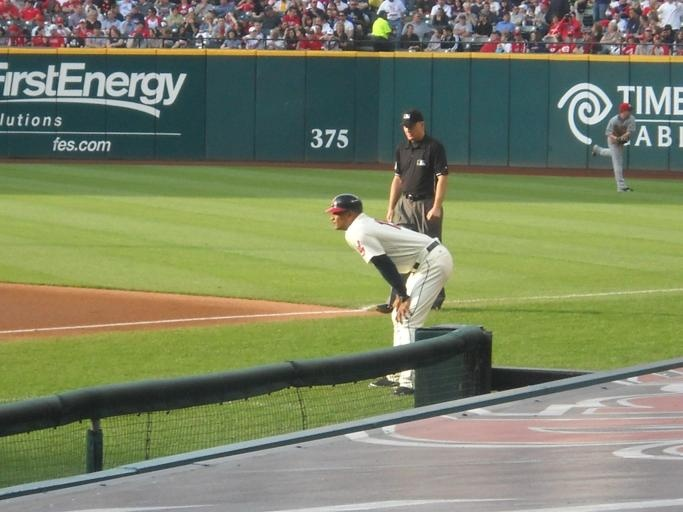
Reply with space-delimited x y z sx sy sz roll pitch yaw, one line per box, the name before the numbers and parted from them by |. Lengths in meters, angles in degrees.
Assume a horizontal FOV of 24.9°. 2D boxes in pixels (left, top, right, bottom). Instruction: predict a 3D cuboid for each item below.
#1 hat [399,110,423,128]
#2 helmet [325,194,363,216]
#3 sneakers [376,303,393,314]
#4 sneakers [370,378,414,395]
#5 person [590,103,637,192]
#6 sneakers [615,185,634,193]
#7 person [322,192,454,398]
hat | 0.846 -1.668 18.592 0.187 0.125 0.257 2 6 35
helmet | 0.042 -0.554 16.454 0.344 0.151 0.235 1 3 1
sneakers | 0.528 0.649 18.914 0.120 0.072 0.243 2 3 36
sneakers | 0.533 1.389 16.275 0.466 0.125 0.167 16 39 32
person | 4.904 -1.965 27.629 0.658 1.558 1.093 0 7 3
sneakers | 5.001 -1.181 27.328 0.320 0.106 0.110 0 6 -8
person | 0.550 0.160 16.489 1.316 1.635 0.663 -1 7 -6
